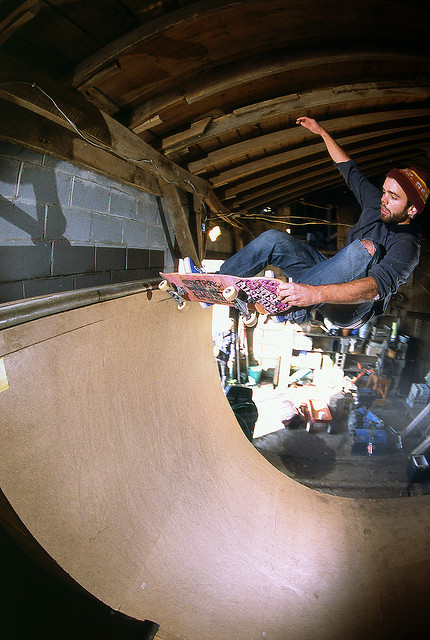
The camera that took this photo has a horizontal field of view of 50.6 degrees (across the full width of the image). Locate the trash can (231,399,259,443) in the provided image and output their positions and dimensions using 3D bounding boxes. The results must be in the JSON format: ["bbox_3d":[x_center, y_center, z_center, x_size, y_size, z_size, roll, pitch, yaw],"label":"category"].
[{"bbox_3d":[0.515,1.680,7.053,0.372,0.719,0.684,-7,9,1],"label":"trash can"}]

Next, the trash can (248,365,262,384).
[{"bbox_3d":[1.001,1.290,10.579,0.361,0.367,0.343,-2,-8,11],"label":"trash can"}]

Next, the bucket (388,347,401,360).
[{"bbox_3d":[3.855,0.715,10.034,0.250,0.225,0.249,17,5,-1],"label":"bucket"}]

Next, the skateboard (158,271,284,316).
[{"bbox_3d":[-0.021,-0.216,3.157,1.034,0.306,0.147,3,46,38],"label":"skateboard"}]

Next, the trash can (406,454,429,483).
[{"bbox_3d":[3.010,2.262,6.801,0.213,0.422,0.309,-7,9,4],"label":"trash can"}]

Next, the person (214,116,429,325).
[{"bbox_3d":[0.814,-0.722,3.294,1.162,1.596,1.077,-9,9,-12],"label":"person"}]

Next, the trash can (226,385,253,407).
[{"bbox_3d":[0.369,1.233,7.437,0.262,0.289,0.441,-5,-12,23],"label":"trash can"}]

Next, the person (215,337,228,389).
[{"bbox_3d":[0.208,0.922,9.882,0.295,1.099,0.182,-7,9,1],"label":"person"}]

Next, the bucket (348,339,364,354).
[{"bbox_3d":[3.159,0.634,10.480,0.322,0.333,0.309,13,-14,3],"label":"bucket"}]

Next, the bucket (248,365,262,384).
[{"bbox_3d":[0.916,1.295,10.659,0.359,0.377,0.358,3,0,0],"label":"bucket"}]

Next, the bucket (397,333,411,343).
[{"bbox_3d":[4.168,0.426,10.188,0.185,0.126,0.401,-8,8,-11],"label":"bucket"}]
